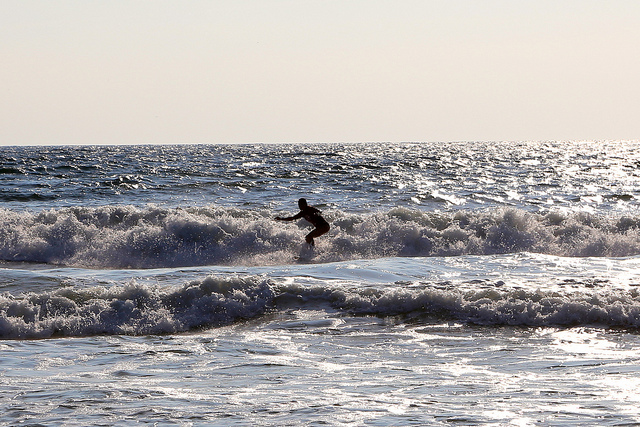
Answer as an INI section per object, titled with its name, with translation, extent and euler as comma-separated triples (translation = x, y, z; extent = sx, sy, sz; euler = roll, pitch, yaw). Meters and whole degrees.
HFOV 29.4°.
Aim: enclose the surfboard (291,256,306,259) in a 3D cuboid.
[surfboard]
translation = -0.694, 1.331, 36.313
extent = 0.444, 0.056, 0.298
euler = -3, 8, -23
